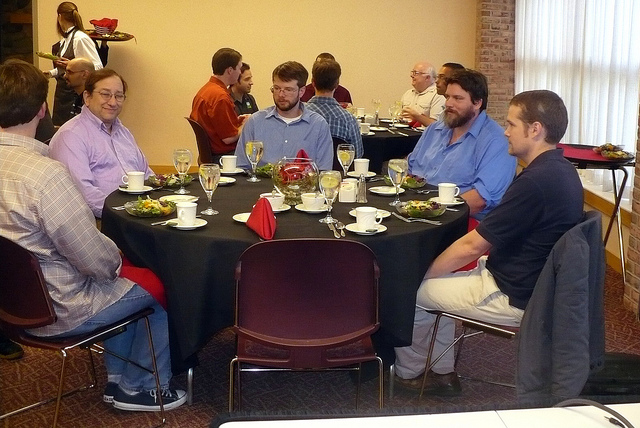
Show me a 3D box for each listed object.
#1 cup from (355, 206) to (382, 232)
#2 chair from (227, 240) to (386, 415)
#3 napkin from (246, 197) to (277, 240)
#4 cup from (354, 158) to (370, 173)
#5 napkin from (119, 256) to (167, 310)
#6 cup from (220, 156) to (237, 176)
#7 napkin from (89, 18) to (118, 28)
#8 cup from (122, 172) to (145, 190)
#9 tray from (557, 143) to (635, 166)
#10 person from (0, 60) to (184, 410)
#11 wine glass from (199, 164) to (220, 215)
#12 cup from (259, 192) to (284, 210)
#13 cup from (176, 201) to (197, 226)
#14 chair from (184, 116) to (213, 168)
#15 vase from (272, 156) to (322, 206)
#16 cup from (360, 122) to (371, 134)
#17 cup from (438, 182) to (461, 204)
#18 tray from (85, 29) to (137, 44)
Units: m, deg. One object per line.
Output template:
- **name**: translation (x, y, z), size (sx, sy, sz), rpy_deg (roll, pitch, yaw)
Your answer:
- **cup**: translation (0.226, 0.016, 2.277), size (0.114, 0.098, 0.098), rpy_deg (4, 10, 9)
- **chair**: translation (-0.051, 0.373, 2.305), size (0.686, 1.048, 0.724), rpy_deg (0, 21, -2)
- **napkin**: translation (-0.264, 0.023, 2.233), size (0.083, 0.136, 0.152), rpy_deg (-4, 20, -30)
- **cup**: translation (0.264, -0.309, 3.081), size (0.083, 0.070, 0.087), rpy_deg (0, 8, 0)
- **napkin**: translation (-0.852, 0.310, 2.380), size (0.211, 0.078, 0.215), rpy_deg (31, 18, -7)
- **cup**: translation (-0.601, -0.328, 3.226), size (0.114, 0.101, 0.102), rpy_deg (-2, 12, -1)
- **napkin**: translation (-2.713, -2.442, 6.218), size (0.216, 0.081, 0.224), rpy_deg (16, 19, 28)
- **cup**: translation (-1.101, -0.195, 2.839), size (0.162, 0.121, 0.111), rpy_deg (-2, 10, -10)
- **tray**: translation (2.107, -0.470, 3.744), size (0.461, 0.062, 0.669), rpy_deg (9, 23, 21)
- **person**: translation (-1.092, 0.175, 2.364), size (0.646, 1.730, 0.599), rpy_deg (-8, 21, -20)
- **wine glass**: translation (-0.577, -0.158, 2.545), size (0.101, 0.253, 0.285), rpy_deg (-5, 21, -12)
- **cup**: translation (-0.247, -0.077, 2.556), size (0.090, 0.066, 0.094), rpy_deg (0, 3, 0)
- **cup**: translation (-0.610, -0.007, 2.244), size (0.073, 0.086, 0.115), rpy_deg (4, 15, 5)
- **chair**: translation (-1.166, -0.700, 4.757), size (0.214, 0.500, 0.399), rpy_deg (-5, 21, -13)
- **vase**: translation (-0.129, -0.190, 2.762), size (0.245, 0.249, 0.261), rpy_deg (2, 3, 5)
- **cup**: translation (0.449, -0.848, 4.791), size (0.098, 0.090, 0.102), rpy_deg (-1, 14, 0)
- **cup**: translation (0.744, -0.126, 2.736), size (0.159, 0.124, 0.113), rpy_deg (-1, 6, -7)
- **tray**: translation (-2.773, -2.352, 6.388), size (0.537, 0.147, 0.432), rpy_deg (-13, 25, -30)
